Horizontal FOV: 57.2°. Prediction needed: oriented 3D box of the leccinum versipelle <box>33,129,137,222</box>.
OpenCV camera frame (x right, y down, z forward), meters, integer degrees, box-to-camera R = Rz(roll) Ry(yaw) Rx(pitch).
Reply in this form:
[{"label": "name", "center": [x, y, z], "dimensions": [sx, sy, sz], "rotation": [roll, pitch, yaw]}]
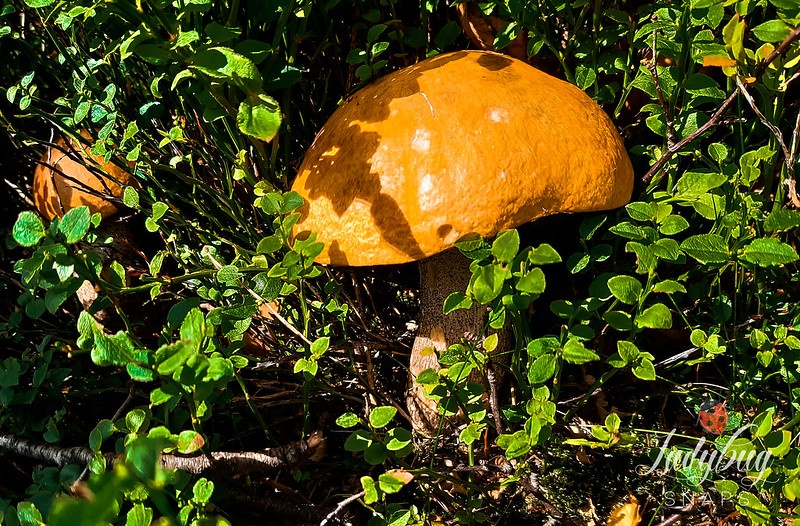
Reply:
[{"label": "leccinum versipelle", "center": [-1.156, -0.330, 2.720], "dimensions": [0.304, 0.171, 0.300], "rotation": [-21, 30, -28]}]
